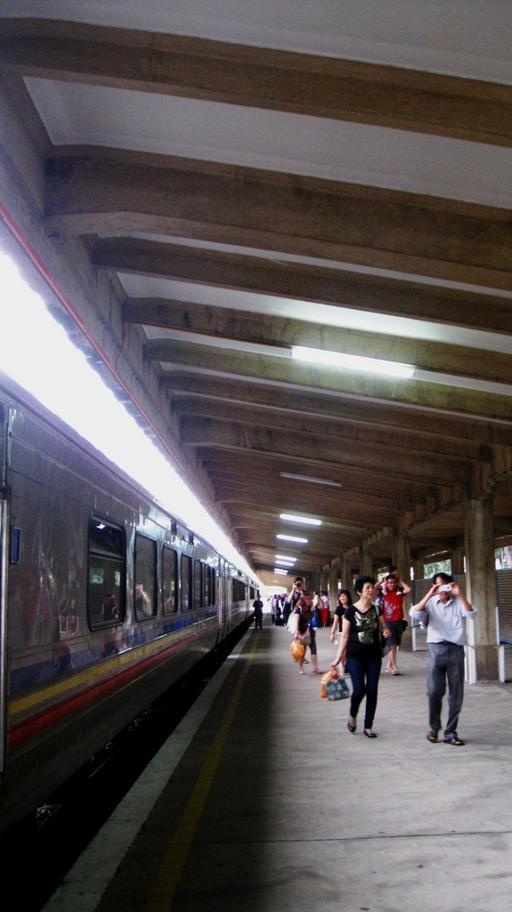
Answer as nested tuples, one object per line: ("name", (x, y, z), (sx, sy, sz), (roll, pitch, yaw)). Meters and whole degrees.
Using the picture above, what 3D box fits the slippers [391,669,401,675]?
("slippers", (2.875, 4.431, 13.971), (0.081, 0.123, 0.281), (0, -15, 3))

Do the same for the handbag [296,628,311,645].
("handbag", (0.878, 3.401, 12.891), (0.144, 0.260, 0.298), (22, -8, 1))

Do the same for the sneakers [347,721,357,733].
("sneakers", (1.112, 3.125, 7.872), (0.049, 0.184, 0.090), (5, -16, -28))

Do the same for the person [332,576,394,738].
("person", (1.258, 2.357, 8.160), (0.596, 1.777, 1.469), (-2, -10, 10))

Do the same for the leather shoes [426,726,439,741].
("leather shoes", (1.909, 2.999, 7.365), (0.071, 0.116, 0.243), (1, -8, 5))

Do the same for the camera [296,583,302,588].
("camera", (1.004, 3.080, 16.235), (0.104, 0.167, 0.396), (-2, -11, 11))

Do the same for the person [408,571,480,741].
("person", (2.024, 2.170, 7.405), (0.609, 1.780, 0.789), (-1, -9, 5))

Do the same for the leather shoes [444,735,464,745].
("leather shoes", (2.068, 2.977, 7.171), (0.088, 0.098, 0.206), (4, -19, -3))
